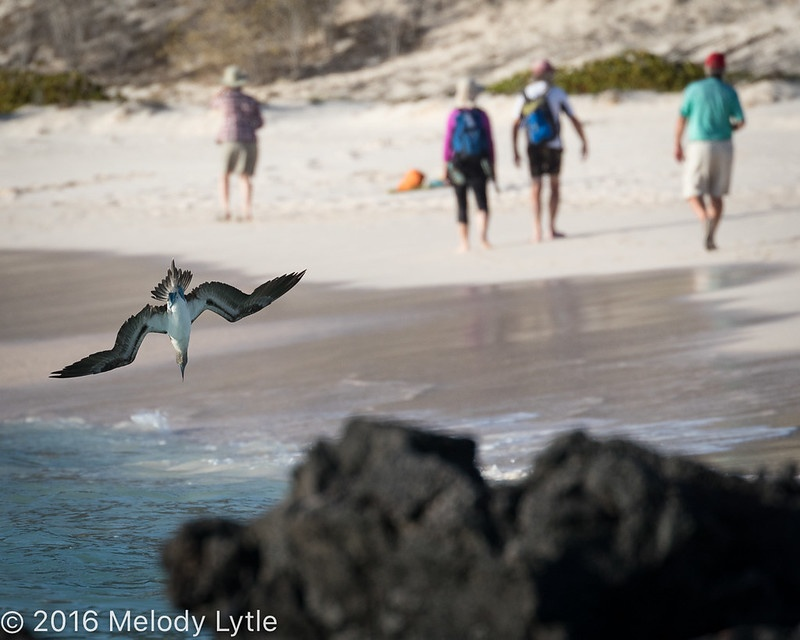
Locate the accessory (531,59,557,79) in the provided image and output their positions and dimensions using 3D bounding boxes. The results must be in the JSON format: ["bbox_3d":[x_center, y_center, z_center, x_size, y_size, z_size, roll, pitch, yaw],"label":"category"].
[{"bbox_3d":[1.002,-1.811,11.803,0.146,0.129,0.221,-7,-2,3],"label":"accessory"}]

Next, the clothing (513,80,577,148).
[{"bbox_3d":[1.014,-1.459,11.784,0.533,0.514,0.232,-2,4,14],"label":"clothing"}]

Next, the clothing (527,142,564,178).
[{"bbox_3d":[1.009,-1.150,11.778,0.252,0.230,0.085,1,7,8],"label":"clothing"}]

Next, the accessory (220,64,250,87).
[{"bbox_3d":[-1.207,-1.782,11.986,0.186,0.169,0.060,-4,-4,-5],"label":"accessory"}]

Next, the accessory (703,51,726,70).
[{"bbox_3d":[2.158,-1.800,11.448,0.119,0.123,0.180,-7,-2,14],"label":"accessory"}]

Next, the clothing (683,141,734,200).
[{"bbox_3d":[2.109,-1.050,11.443,0.403,0.491,0.284,2,11,-3],"label":"clothing"}]

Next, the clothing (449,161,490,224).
[{"bbox_3d":[0.493,-0.921,11.778,0.277,0.428,0.145,-8,-2,13],"label":"clothing"}]
